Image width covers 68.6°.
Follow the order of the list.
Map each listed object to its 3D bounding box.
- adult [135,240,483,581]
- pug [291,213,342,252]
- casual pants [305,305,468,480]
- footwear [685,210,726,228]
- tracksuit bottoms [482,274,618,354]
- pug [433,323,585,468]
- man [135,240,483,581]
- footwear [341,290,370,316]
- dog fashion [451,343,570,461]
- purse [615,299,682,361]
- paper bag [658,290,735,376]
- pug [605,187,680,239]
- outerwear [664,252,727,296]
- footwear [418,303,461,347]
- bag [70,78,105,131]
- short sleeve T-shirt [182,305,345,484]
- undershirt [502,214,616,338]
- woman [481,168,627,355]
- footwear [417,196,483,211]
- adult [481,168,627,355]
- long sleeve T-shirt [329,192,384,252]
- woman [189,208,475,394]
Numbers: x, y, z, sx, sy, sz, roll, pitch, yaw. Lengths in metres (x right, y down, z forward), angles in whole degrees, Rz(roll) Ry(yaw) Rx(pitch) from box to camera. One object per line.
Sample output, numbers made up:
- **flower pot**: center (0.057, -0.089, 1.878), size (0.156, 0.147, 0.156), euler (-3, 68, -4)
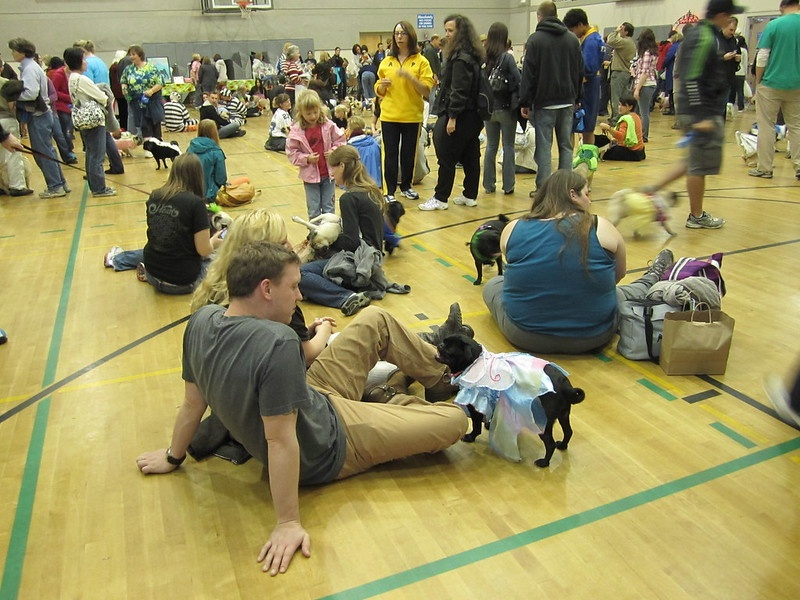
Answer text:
- **adult**: center (-0.292, 0.228, 3.204), size (1.106, 1.204, 1.872), euler (13, 20, 40)
- **pug**: center (-0.759, -0.594, 5.320), size (0.436, 0.209, 0.297), euler (4, 46, 1)
- **casual pants**: center (-0.004, 0.550, 3.252), size (0.958, 0.390, 0.778), euler (-13, 41, -26)
- **footwear**: center (3.245, -0.882, 6.335), size (0.424, 0.207, 0.163), euler (0, 20, 2)
- **tracksuit bottoms**: center (1.012, 0.048, 4.268), size (0.602, 0.212, 0.691), euler (8, 7, 1)
- **pug**: center (0.598, 0.556, 3.253), size (0.875, 0.543, 0.488), euler (10, 11, 32)
- **man**: center (-0.360, 0.235, 3.198), size (1.072, 1.192, 1.953), euler (12, 20, 36)
- **footwear**: center (-0.373, 0.019, 4.924), size (0.260, 0.145, 0.114), euler (-19, 26, -32)
- **dog fashion**: center (0.582, 0.541, 3.257), size (0.787, 0.539, 0.475), euler (9, 13, 28)
- **purse**: center (1.726, 0.212, 4.141), size (0.409, 0.415, 0.347), euler (-1, 1, -4)
- **paper bag**: center (1.913, 0.228, 3.822), size (0.534, 0.618, 0.234), euler (0, 37, 7)
- **pug**: center (2.145, -0.767, 5.188), size (0.917, 0.525, 0.319), euler (-7, 15, -38)
- **outerwear**: center (2.202, -0.215, 4.336), size (0.375, 0.372, 0.154), euler (0, 44, -12)
- **footwear**: center (0.295, 0.163, 3.896), size (0.390, 0.272, 0.131), euler (-4, 5, 39)
- **bag**: center (-4.462, -2.807, 8.380), size (0.474, 0.730, 0.388), euler (-11, 23, -24)
- **short sleeve T-shirt**: center (-0.644, 0.462, 2.766), size (0.455, 0.737, 0.762), euler (-17, 20, -39)
- **undershirt**: center (1.045, -0.189, 4.193), size (0.795, 0.853, 0.793), euler (4, 23, 16)
- **woman**: center (1.207, -0.303, 4.427), size (1.068, 1.276, 1.318), euler (0, 12, 2)
- **footwear**: center (0.638, -1.269, 7.682), size (0.831, 0.345, 0.268), euler (-1, 15, -7)
- **adult**: center (1.198, -0.307, 4.411), size (1.036, 1.276, 1.302), euler (0, 11, -1)
- **long sleeve T-shirt**: center (-0.380, -0.753, 5.421), size (0.452, 0.577, 0.530), euler (7, 14, 38)
- **woman**: center (-0.303, -0.002, 3.624), size (1.863, 1.026, 0.920), euler (-1, 24, -5)
